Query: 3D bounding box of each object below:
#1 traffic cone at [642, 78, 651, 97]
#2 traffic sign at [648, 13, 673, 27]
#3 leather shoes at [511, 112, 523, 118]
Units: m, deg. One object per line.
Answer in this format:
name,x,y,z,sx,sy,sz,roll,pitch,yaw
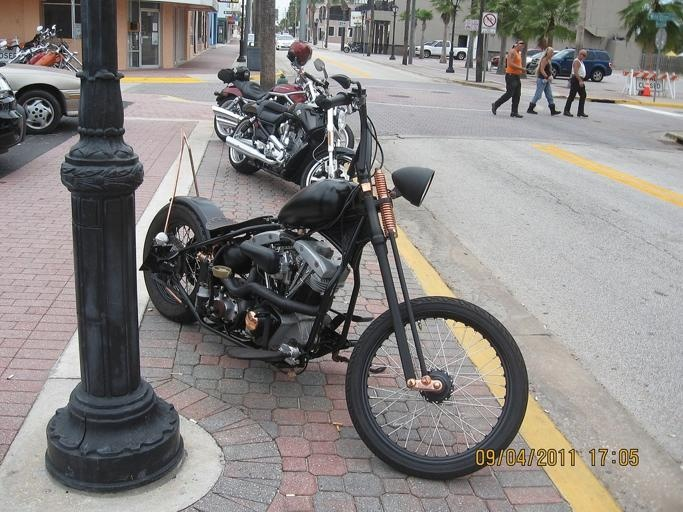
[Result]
traffic cone,17.275,-9.481,30.719,0.439,0.910,0.922,12,21,26
traffic sign,17.246,-12.673,29.274,0.718,0.874,2.152,14,22,30
leather shoes,5.958,-4.801,18.503,0.459,0.196,0.166,-3,18,-5
